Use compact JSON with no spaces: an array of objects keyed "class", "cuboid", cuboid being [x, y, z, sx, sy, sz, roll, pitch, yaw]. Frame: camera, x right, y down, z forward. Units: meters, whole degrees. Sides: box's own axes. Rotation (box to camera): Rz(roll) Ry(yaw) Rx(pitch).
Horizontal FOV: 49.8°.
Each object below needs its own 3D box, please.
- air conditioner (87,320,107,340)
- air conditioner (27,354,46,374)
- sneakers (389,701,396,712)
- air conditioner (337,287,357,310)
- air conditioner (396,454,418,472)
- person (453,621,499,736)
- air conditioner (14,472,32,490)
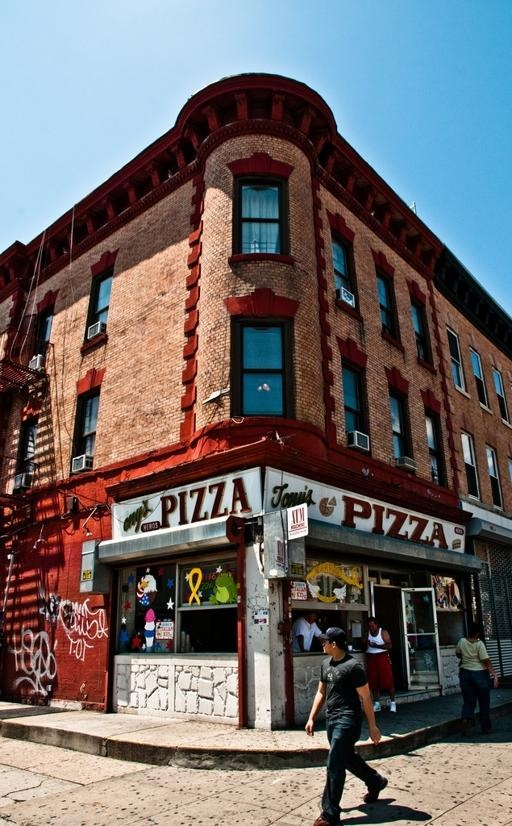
[{"class":"air conditioner","cuboid":[-4.169,-2.113,14.408,0.647,0.427,0.194,-20,-29,36]},{"class":"air conditioner","cuboid":[-6.335,-1.404,15.940,0.380,0.477,0.232,-29,-32,24]},{"class":"sneakers","cuboid":[2.363,5.059,9.481,0.122,0.183,0.378,-8,-29,15]},{"class":"air conditioner","cuboid":[2.136,-2.697,13.083,0.312,0.498,0.586,-11,-15,40]},{"class":"air conditioner","cuboid":[3.682,1.264,13.468,0.231,0.295,0.800,-19,-29,35]},{"class":"person","cuboid":[3.378,4.041,8.454,0.549,1.453,1.421,-9,-24,18]},{"class":"air conditioner","cuboid":[-6.295,1.968,14.883,0.374,0.611,0.687,5,-13,-37]}]
